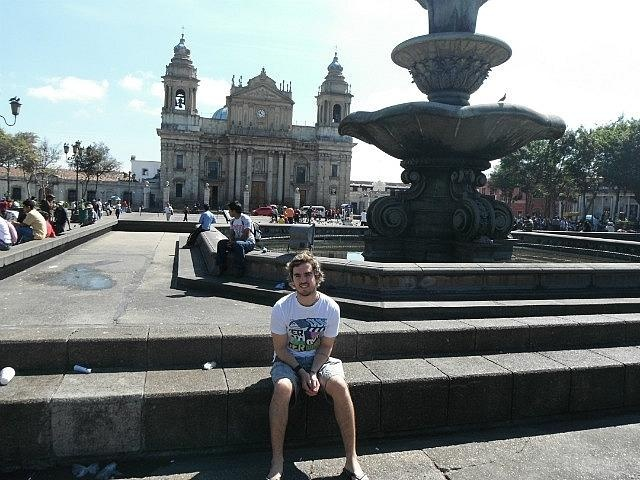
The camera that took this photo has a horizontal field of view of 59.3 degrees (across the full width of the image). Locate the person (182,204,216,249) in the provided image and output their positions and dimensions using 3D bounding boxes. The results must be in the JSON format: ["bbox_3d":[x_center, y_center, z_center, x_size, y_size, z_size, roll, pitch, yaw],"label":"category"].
[{"bbox_3d":[-2.711,-0.256,12.447,0.597,0.734,1.240,1,6,-4],"label":"person"}]

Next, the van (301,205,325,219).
[{"bbox_3d":[-0.453,-2.417,49.758,1.915,1.107,1.203,10,12,33],"label":"van"}]

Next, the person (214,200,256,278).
[{"bbox_3d":[-1.198,-0.043,8.115,0.499,1.026,0.635,2,5,5],"label":"person"}]

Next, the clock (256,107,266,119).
[{"bbox_3d":[-6.629,-14.500,63.720,1.123,1.206,0.314,1,5,-6],"label":"clock"}]

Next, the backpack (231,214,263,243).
[{"bbox_3d":[-1.062,-0.183,8.357,0.399,0.453,0.390,-12,19,-23],"label":"backpack"}]

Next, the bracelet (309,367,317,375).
[{"bbox_3d":[-0.052,1.075,4.624,0.062,0.044,0.057,2,6,8],"label":"bracelet"}]
